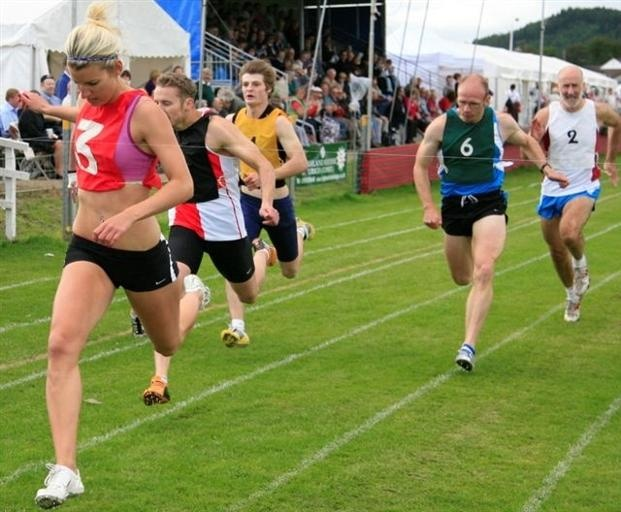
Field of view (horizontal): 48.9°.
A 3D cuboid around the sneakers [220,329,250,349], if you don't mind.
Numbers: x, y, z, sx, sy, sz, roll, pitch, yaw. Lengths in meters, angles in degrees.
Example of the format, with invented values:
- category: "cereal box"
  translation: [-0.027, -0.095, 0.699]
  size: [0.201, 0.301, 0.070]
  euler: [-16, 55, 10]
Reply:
- category: "sneakers"
  translation: [-0.576, 0.623, 5.239]
  size: [0.111, 0.099, 0.214]
  euler: [-7, -33, 8]

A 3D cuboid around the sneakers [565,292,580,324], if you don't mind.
- category: "sneakers"
  translation: [2.446, 0.488, 6.457]
  size: [0.136, 0.277, 0.129]
  euler: [10, 12, 35]

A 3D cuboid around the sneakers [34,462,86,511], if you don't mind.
- category: "sneakers"
  translation: [-1.165, 1.061, 3.167]
  size: [0.152, 0.198, 0.231]
  euler: [0, 12, -4]

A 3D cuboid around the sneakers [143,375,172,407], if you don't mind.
- category: "sneakers"
  translation: [-0.960, 0.848, 4.271]
  size: [0.102, 0.127, 0.258]
  euler: [-2, -10, 1]

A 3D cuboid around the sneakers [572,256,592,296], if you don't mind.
- category: "sneakers"
  translation: [2.589, 0.183, 6.583]
  size: [0.143, 0.434, 0.187]
  euler: [-5, -31, 39]

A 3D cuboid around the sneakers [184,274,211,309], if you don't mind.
- category: "sneakers"
  translation: [-0.780, 0.290, 4.758]
  size: [0.109, 0.292, 0.130]
  euler: [-32, 22, 2]

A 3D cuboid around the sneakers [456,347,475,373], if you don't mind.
- category: "sneakers"
  translation: [1.116, 0.745, 4.984]
  size: [0.094, 0.114, 0.241]
  euler: [7, -16, 24]
